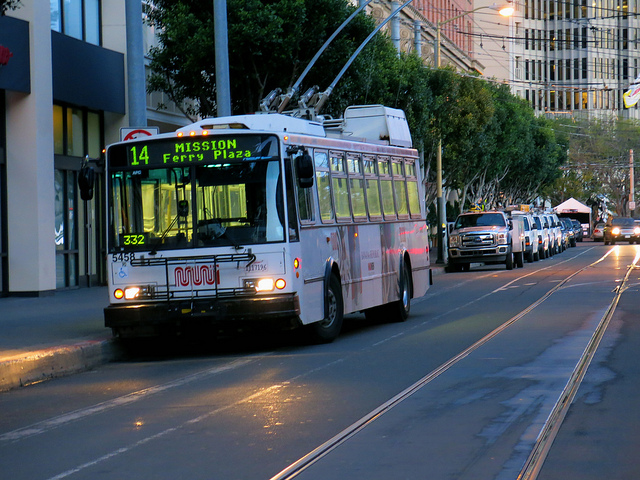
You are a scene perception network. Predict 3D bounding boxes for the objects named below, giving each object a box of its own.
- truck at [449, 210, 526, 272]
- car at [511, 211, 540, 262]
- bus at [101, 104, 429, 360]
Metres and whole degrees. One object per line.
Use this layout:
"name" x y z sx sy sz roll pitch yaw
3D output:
"truck" 8.262 0.025 35.844 2.097 2.187 4.629 -2 -7 11
"car" 11.985 -0.406 42.035 1.453 1.806 3.094 12 -5 30
"bus" -0.127 -0.482 15.833 2.845 4.775 9.941 -2 1 21
